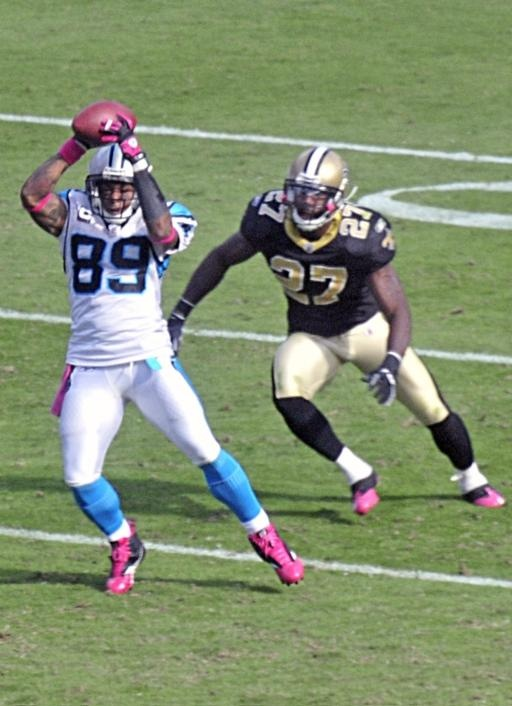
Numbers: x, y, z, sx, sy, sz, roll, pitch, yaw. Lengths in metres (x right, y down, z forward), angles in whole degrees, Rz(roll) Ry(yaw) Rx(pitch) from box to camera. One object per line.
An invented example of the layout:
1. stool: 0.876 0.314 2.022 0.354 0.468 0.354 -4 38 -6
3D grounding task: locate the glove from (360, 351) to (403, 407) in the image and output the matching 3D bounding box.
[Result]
1. glove: 0.510 0.107 4.381 0.153 0.093 0.264 21 23 4

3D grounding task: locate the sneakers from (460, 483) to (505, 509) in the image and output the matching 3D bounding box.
1. sneakers: 0.993 0.627 4.811 0.181 0.055 0.103 -1 2 42

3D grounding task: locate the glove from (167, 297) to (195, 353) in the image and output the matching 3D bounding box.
1. glove: -0.345 -0.115 4.689 0.096 0.050 0.273 29 31 -6

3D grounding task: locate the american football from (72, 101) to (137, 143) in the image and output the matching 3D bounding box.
1. american football: -0.546 -0.821 3.924 0.244 0.100 0.152 -2 -3 -6

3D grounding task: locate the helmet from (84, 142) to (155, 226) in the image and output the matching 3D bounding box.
1. helmet: -0.513 -0.600 3.946 0.299 0.274 0.306 -3 37 -4

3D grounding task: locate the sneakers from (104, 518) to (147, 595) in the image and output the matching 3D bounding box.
1. sneakers: -0.447 0.739 3.970 0.100 0.127 0.251 -29 30 30

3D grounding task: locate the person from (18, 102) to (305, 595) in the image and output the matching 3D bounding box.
1. person: -0.434 -0.013 3.973 0.668 1.680 1.232 -14 33 -40
